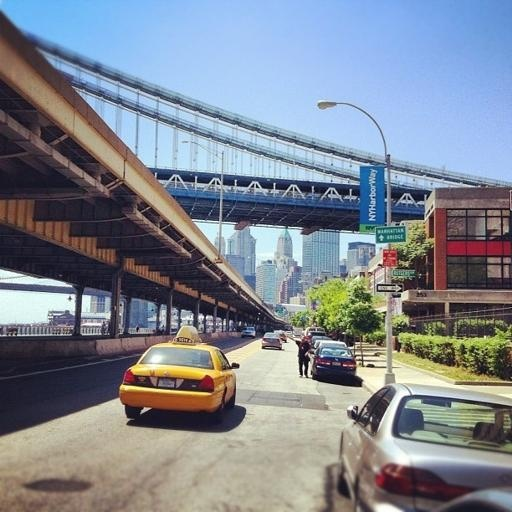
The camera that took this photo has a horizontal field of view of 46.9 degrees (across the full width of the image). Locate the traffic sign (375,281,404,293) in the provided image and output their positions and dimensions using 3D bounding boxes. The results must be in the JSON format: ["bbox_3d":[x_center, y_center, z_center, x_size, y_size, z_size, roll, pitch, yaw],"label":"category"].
[{"bbox_3d":[4.353,1.008,19.375,0.768,0.365,1.358,-2,-7,16],"label":"traffic sign"}]

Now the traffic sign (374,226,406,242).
[{"bbox_3d":[4.453,-0.764,19.513,0.974,0.698,1.178,-1,-7,11],"label":"traffic sign"}]

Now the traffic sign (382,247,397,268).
[{"bbox_3d":[4.385,0.004,19.397,0.426,0.660,1.234,-1,-7,11],"label":"traffic sign"}]

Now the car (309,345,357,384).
[{"bbox_3d":[2.864,4.077,22.063,1.516,1.196,3.627,1,-4,7],"label":"car"}]

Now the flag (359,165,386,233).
[{"bbox_3d":[4.958,-2.413,24.966,1.044,0.173,3.345,2,-51,15],"label":"flag"}]

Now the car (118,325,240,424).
[{"bbox_3d":[-1.295,2.223,11.035,1.248,1.055,2.308,1,-3,8],"label":"car"}]

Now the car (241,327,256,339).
[{"bbox_3d":[-1.099,10.470,81.811,1.270,1.061,3.108,-1,-10,4],"label":"car"}]
